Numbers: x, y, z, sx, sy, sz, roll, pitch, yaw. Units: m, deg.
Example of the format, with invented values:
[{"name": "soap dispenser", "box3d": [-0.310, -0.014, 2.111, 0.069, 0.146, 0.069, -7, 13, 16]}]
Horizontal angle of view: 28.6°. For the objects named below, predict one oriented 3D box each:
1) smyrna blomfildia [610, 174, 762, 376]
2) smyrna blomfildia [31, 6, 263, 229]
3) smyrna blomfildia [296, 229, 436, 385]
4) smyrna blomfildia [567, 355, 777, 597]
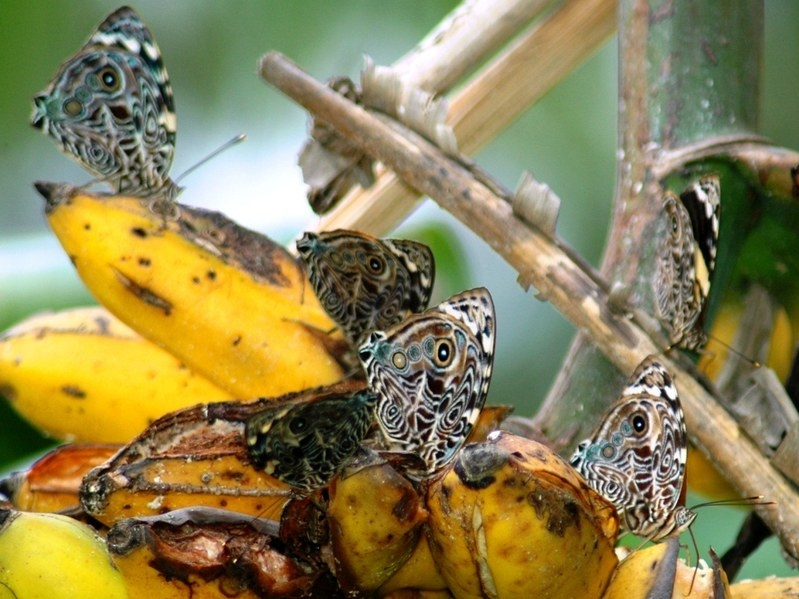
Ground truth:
[{"name": "smyrna blomfildia", "box3d": [0.351, -0.037, 1.853, 0.124, 0.217, 0.140, 1, 13, 12]}, {"name": "smyrna blomfildia", "box3d": [-0.343, -0.211, 1.841, 0.152, 0.235, 0.104, -5, -17, 9]}, {"name": "smyrna blomfildia", "box3d": [-0.034, -0.022, 1.836, 0.165, 0.089, 0.165, 19, -59, 15]}, {"name": "smyrna blomfildia", "box3d": [0.316, 0.222, 1.746, 0.225, 0.246, 0.233, 28, -9, -15]}]
